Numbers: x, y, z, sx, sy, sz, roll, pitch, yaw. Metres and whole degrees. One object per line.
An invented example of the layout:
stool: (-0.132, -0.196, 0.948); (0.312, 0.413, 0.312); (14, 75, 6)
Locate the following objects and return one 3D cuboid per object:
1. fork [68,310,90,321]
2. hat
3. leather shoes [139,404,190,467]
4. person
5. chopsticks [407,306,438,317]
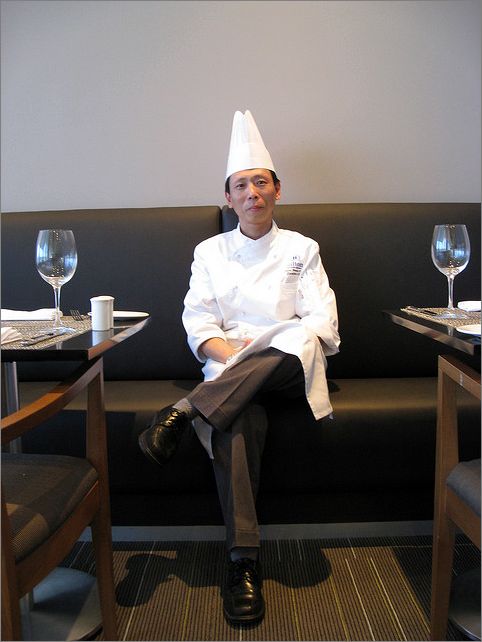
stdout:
fork: (-0.441, -0.015, 1.355); (0.028, 0.031, 0.207); (3, 5, -12)
hat: (0.030, -0.608, 1.740); (0.144, 0.270, 0.208); (-8, -4, 9)
leather shoes: (-0.179, 0.290, 1.323); (0.090, 0.105, 0.251); (41, 7, 6)
person: (0.026, -0.041, 1.445); (0.511, 1.330, 0.872); (0, 6, 11)
chopsticks: (0.447, -0.027, 1.235); (0.083, 0.020, 0.017); (15, -13, 46)
